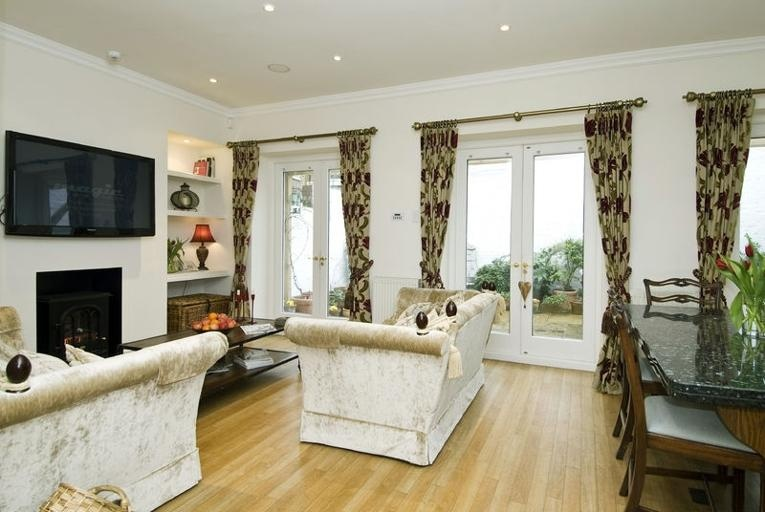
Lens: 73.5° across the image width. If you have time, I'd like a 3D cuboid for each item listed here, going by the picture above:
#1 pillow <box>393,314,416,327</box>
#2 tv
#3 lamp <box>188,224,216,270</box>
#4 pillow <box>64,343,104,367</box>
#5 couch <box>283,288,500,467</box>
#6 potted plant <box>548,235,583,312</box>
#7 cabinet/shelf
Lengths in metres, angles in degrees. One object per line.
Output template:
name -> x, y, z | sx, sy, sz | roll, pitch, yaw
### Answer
pillow -> 0.224, 0.633, 5.039 | 0.174, 0.061, 0.202 | -1, -2, 17
tv -> -3.443, -0.808, 5.749 | 0.091, 0.929, 1.329 | 5, 3, 32
lamp -> -2.694, -0.133, 7.729 | 0.349, 0.682, 0.419 | -7, 16, -26
pillow -> -2.085, 0.684, 3.520 | 0.303, 0.077, 0.178 | 12, 7, 38
couch -> 0.057, 1.097, 4.512 | 1.203, 1.003, 1.977 | 0, -3, 26
potted plant -> 2.266, 0.242, 6.254 | 0.377, 0.894, 0.172 | 6, 15, 20
cabinet/shelf -> -2.682, -0.656, 7.635 | 0.879, 2.296, 0.835 | -1, 14, -4
